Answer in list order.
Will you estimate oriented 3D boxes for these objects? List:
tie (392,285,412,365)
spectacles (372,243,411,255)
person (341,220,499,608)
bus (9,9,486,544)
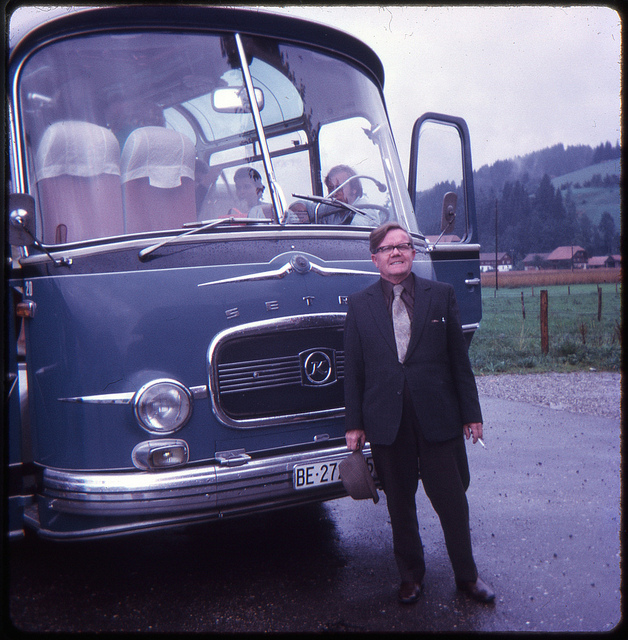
[{"bbox_3d":[0.470,0.019,3.233,0.060,0.522,0.029,-4,-15,1],"label":"tie"},{"bbox_3d":[0.414,-0.391,3.205,0.192,0.054,0.064,-9,3,10],"label":"spectacles"},{"bbox_3d":[0.547,0.528,3.245,0.746,2.152,0.381,-4,3,21],"label":"person"},{"bbox_3d":[-1.102,-0.369,5.006,2.117,2.562,3.832,1,-5,-21],"label":"bus"}]
